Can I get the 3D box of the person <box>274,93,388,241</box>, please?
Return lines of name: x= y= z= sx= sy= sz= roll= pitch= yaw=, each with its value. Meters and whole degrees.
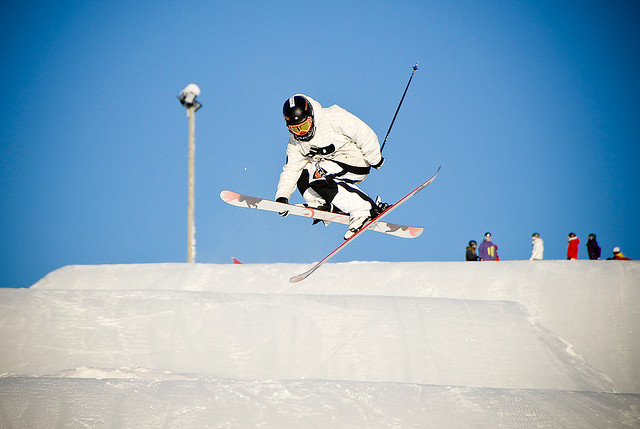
person: x=0.103 y=-0.623 z=10.579 sx=1.276 sy=1.841 sz=1.152 roll=-20 pitch=24 yaw=-29

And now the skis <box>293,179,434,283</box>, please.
skis: x=0.377 y=0.244 z=10.473 sx=0.251 sy=1.962 sz=0.198 roll=58 pitch=-5 yaw=-37
